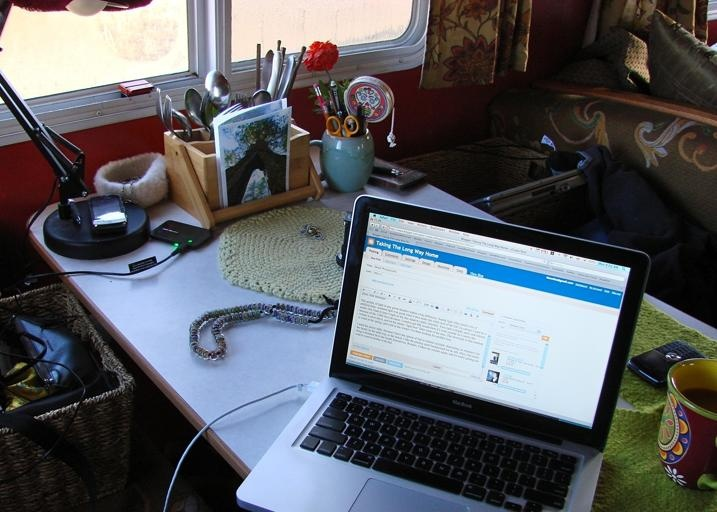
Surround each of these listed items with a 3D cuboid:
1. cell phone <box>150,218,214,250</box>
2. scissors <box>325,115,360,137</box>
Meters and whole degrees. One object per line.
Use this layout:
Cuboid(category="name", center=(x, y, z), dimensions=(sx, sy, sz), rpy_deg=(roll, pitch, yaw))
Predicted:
Cuboid(category="cell phone", center=(-0.448, -0.057, 1.408), dimensions=(0.116, 0.023, 0.073), rpy_deg=(17, 39, 13))
Cuboid(category="scissors", center=(-0.044, -0.381, 1.612), dimensions=(0.069, 0.060, 0.010), rpy_deg=(7, 33, 16))
